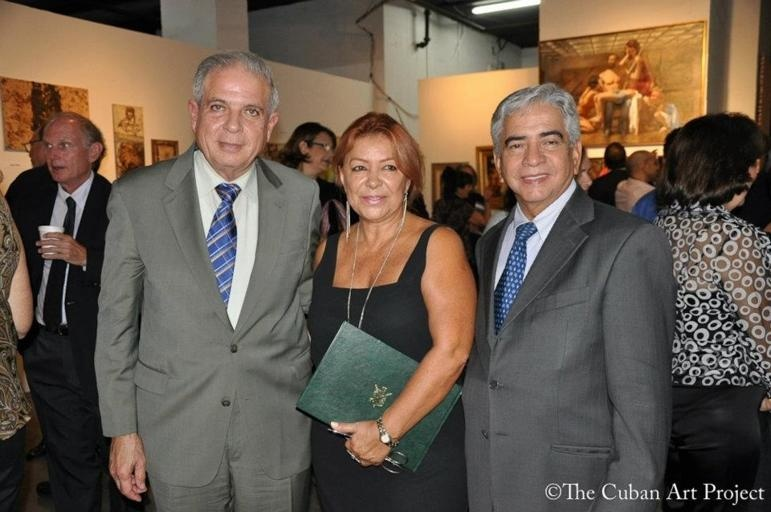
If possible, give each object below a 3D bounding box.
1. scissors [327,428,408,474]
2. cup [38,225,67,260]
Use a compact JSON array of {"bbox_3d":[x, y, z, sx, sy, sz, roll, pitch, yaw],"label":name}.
[{"bbox_3d":[-0.074,1.037,3.048,0.379,0.078,0.217,28,-31,-13],"label":"scissors"},{"bbox_3d":[-2.297,-0.098,4.254,0.227,0.245,0.204,3,2,-9],"label":"cup"}]
